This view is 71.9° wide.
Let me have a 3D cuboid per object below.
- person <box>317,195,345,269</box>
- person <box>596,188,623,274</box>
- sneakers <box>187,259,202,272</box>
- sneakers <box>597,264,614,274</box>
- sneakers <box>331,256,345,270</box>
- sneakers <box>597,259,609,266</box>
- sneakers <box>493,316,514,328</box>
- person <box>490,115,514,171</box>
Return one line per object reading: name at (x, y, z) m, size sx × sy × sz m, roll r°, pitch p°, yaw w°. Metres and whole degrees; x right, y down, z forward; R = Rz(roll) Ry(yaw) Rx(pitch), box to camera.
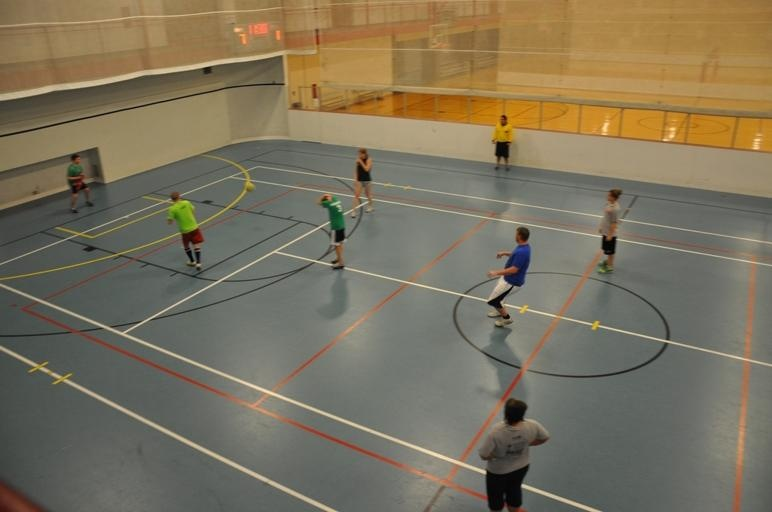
person at (-1.510, -0.818, 14.974) m, size 0.630 × 2.069 × 1.253 m, roll 0°, pitch 23°, yaw -6°
person at (6.011, -0.745, 14.266) m, size 0.543 × 2.300 × 1.003 m, roll 12°, pitch 25°, yaw 22°
sneakers at (-5.415, 0.261, 15.050) m, size 0.543 × 0.231 × 0.208 m, roll 25°, pitch 56°, yaw 15°
sneakers at (5.886, 0.323, 14.422) m, size 0.487 × 0.215 × 0.204 m, roll -9°, pitch 22°, yaw -24°
sneakers at (-1.376, 0.212, 14.808) m, size 0.277 × 0.149 × 0.377 m, roll -1°, pitch 31°, yaw 1°
sneakers at (5.927, 0.184, 14.564) m, size 0.230 × 0.133 × 0.081 m, roll 7°, pitch -19°, yaw -40°
sneakers at (2.766, 1.569, 12.722) m, size 0.515 × 0.182 × 0.219 m, roll -3°, pitch -21°, yaw 6°
person at (4.561, -4.491, 20.956) m, size 0.730 × 2.103 × 1.152 m, roll 7°, pitch 24°, yaw 12°
